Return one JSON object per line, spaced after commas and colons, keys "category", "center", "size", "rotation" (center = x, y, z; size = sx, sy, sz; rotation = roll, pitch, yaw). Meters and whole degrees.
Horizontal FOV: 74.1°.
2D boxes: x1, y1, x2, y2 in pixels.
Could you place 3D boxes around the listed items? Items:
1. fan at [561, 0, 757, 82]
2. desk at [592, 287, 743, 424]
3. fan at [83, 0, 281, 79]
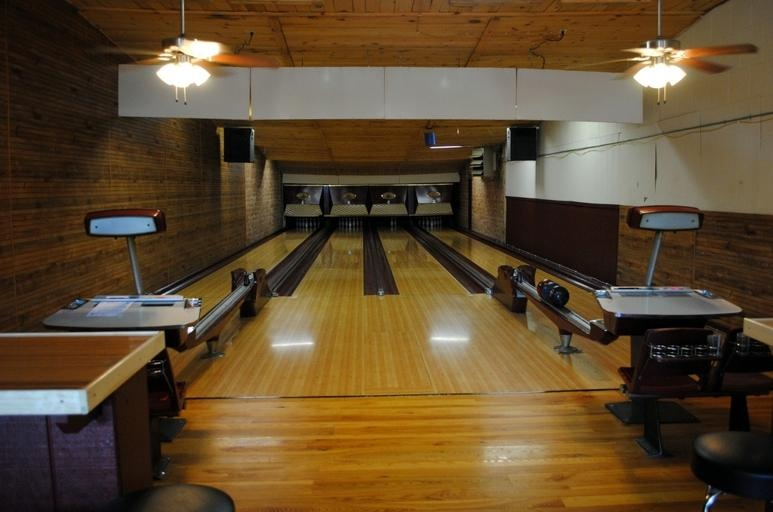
{"category": "fan", "center": [2.771, -2.173, 5.103], "size": [1.061, 0.595, 1.002], "rotation": [7, 19, 29]}
{"category": "desk", "center": [1.964, 0.669, 3.861], "size": [1.227, 1.085, 0.960], "rotation": [0, -1, -2]}
{"category": "fan", "center": [-2.126, -2.220, 5.198], "size": [1.074, 0.559, 0.986], "rotation": [-7, 20, -29]}
